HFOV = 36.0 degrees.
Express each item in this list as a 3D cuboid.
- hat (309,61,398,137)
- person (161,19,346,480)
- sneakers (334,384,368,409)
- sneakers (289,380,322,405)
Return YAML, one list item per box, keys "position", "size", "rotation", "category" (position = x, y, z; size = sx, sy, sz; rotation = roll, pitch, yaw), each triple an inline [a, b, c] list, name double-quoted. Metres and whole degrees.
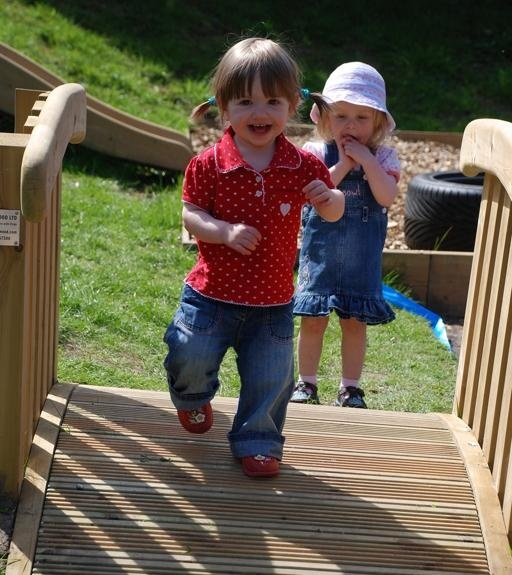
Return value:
- position: [0.408, -0.761, 3.132]
  size: [0.348, 0.197, 0.382]
  rotation: [7, -6, 38]
  category: "hat"
- position: [-0.024, -0.111, 2.337]
  size: [0.494, 1.264, 0.386]
  rotation: [12, 9, 3]
  category: "person"
- position: [0.389, 0.454, 3.203]
  size: [0.073, 0.057, 0.144]
  rotation: [3, -7, -15]
  category: "sneakers"
- position: [0.201, 0.428, 3.170]
  size: [0.086, 0.067, 0.168]
  rotation: [1, -9, 8]
  category: "sneakers"
